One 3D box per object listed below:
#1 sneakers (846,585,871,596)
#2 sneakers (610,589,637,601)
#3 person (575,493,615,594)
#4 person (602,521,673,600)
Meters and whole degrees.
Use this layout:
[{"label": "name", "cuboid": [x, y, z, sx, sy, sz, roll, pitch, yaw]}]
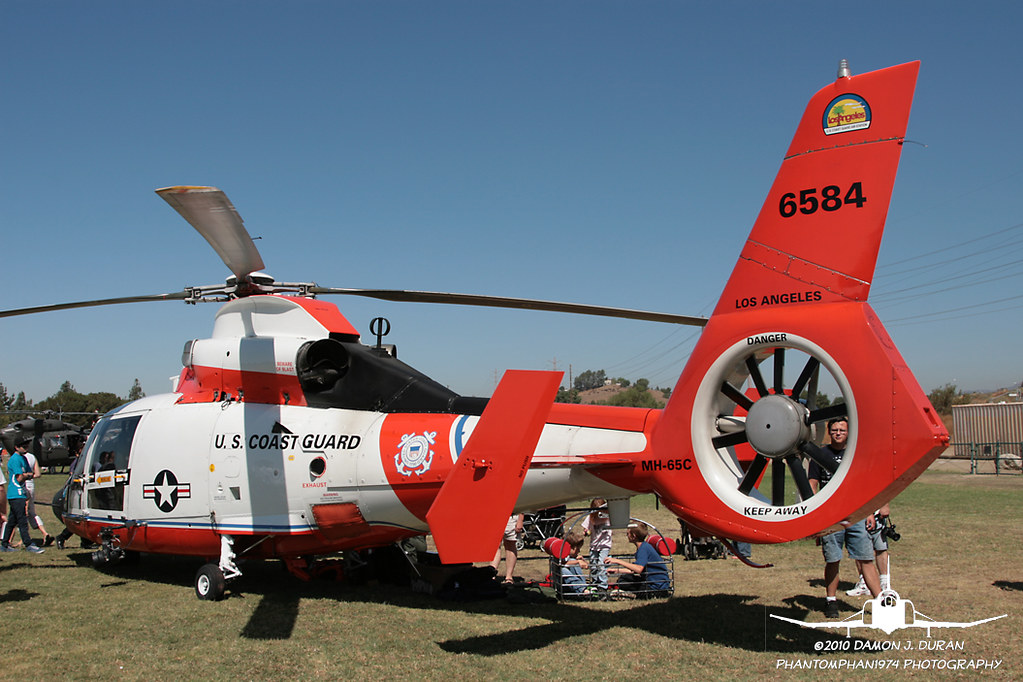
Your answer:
[{"label": "sneakers", "cuboid": [6.293, 4.483, 14.311, 0.507, 0.153, 0.151, 0, -11, 6]}, {"label": "sneakers", "cuboid": [1.936, 4.519, 14.182, 0.598, 0.178, 0.162, -1, -1, 4]}, {"label": "person", "cuboid": [1.571, 3.691, 14.674, 0.773, 1.789, 0.634, 3, -17, -8]}, {"label": "person", "cuboid": [2.305, 3.980, 14.782, 1.373, 1.050, 1.384, -6, -8, -1]}]
